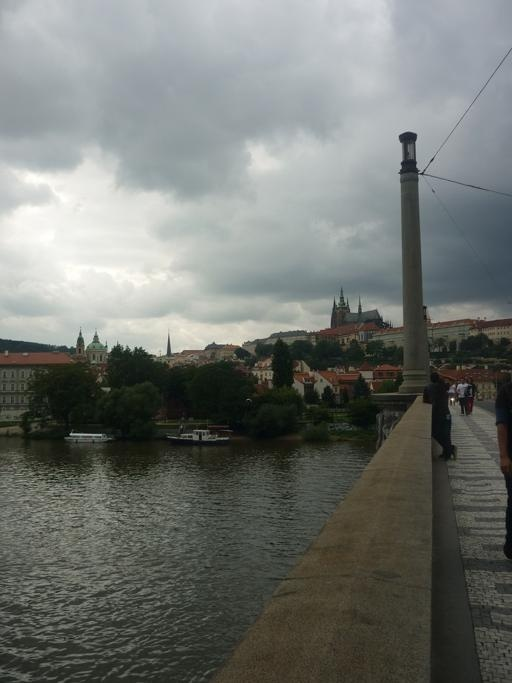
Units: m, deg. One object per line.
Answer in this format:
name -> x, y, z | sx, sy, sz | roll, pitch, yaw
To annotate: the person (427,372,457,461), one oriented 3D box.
person -> 2.420, 0.985, 8.783 | 0.340, 1.145, 0.812 | -3, -3, 16
